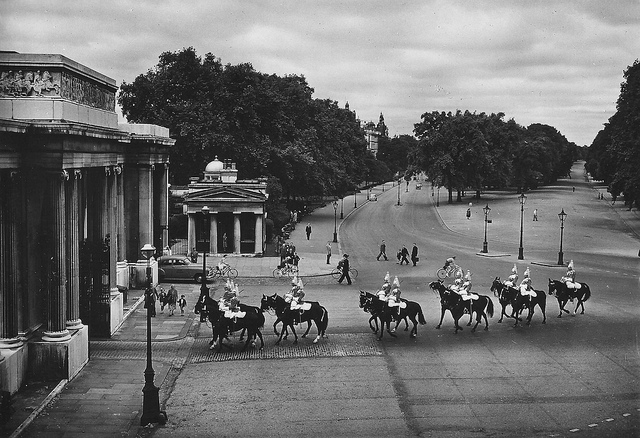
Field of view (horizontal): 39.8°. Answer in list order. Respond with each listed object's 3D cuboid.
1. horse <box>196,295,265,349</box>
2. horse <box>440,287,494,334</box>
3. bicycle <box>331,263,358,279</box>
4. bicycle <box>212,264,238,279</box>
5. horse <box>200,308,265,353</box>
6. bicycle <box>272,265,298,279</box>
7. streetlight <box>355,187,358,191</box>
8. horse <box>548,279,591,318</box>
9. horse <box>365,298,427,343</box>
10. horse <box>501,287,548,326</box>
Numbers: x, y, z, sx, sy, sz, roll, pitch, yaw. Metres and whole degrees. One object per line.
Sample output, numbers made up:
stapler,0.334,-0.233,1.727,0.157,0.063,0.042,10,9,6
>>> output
horse,-4.263,5.027,41.790,3.255,2.279,0.843,-1,18,-2
horse,7.248,4.538,44.012,2.412,2.194,0.672,-3,4,-14
bicycle,1.570,3.576,58.330,1.688,1.035,0.830,-2,15,-1
bicycle,-6.343,3.555,58.619,1.686,1.006,0.813,-1,9,-5
horse,-4.258,5.166,41.578,3.139,2.130,0.877,3,11,5
bicycle,-2.394,3.612,59.052,1.627,1.006,0.815,0,6,4
streetlight,4.919,-4.066,123.594,0.389,0.389,0.364,0,4,6
horse,13.133,4.177,47.131,2.314,2.022,0.764,-3,4,-16
horse,3.628,4.869,42.998,3.250,2.136,0.810,-1,-13,-10
horse,10.555,4.426,45.609,1.915,1.974,1.989,1,5,30
